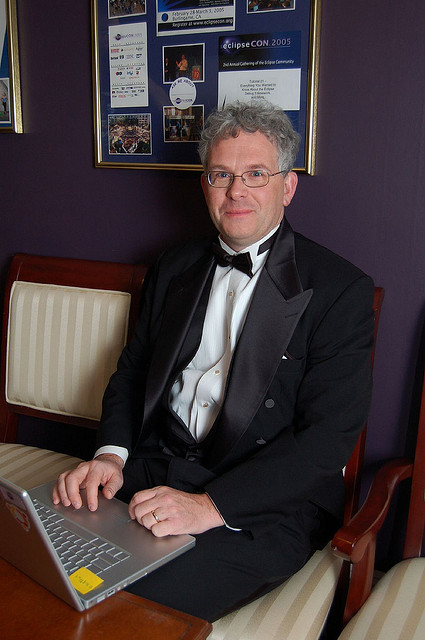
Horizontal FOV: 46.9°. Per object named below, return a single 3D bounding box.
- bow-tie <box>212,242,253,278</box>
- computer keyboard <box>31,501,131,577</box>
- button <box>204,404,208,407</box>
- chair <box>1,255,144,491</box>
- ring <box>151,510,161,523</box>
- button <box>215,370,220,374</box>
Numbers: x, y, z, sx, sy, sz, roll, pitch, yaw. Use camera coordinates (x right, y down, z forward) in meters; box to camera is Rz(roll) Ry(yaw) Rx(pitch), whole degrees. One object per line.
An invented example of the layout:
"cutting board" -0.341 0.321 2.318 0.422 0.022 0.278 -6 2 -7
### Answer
"bow-tie" 0.057 -0.157 1.296 0.052 0.073 0.146 2 2 -38
"computer keyboard" -0.285 0.386 0.877 0.344 0.021 0.111 5 1 43
"button" -0.017 0.220 1.264 0.008 0.009 0.002 13 2 28
"chair" -0.563 0.240 1.784 0.460 0.830 0.500 10 25 23
"ring" -0.107 0.371 0.922 0.006 0.005 0.035 -14 46 -12
"button" 0.012 0.133 1.248 0.009 0.010 0.002 2 -2 7
